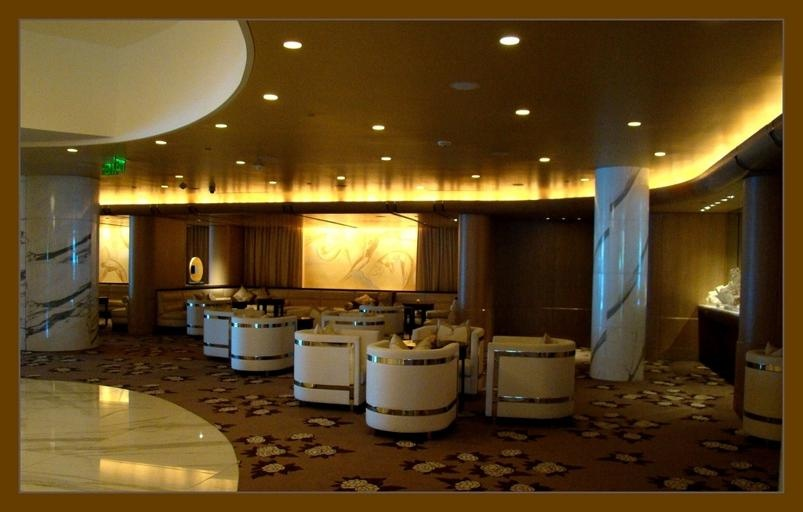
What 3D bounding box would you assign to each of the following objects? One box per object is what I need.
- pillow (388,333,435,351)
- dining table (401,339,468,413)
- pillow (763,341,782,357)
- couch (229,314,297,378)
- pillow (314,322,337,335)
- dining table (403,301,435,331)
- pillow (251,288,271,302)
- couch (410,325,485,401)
[{"bbox_3d":[0.115,1.249,8.339,0.455,0.151,0.408,1,-1,-10],"label":"pillow"},{"bbox_3d":[0.564,1.603,8.259,0.999,0.899,0.911,1,2,13],"label":"dining table"},{"bbox_3d":[5.104,1.291,8.249,0.248,0.092,0.248,25,11,34],"label":"pillow"},{"bbox_3d":[-2.635,1.620,11.508,1.335,1.053,1.198,1,2,10],"label":"couch"},{"bbox_3d":[-1.192,1.170,9.362,0.342,0.107,0.313,-3,-10,2],"label":"pillow"},{"bbox_3d":[0.488,1.772,17.108,0.904,0.739,0.836,2,-4,2],"label":"dining table"},{"bbox_3d":[-4.485,1.242,19.165,0.510,0.150,0.457,4,33,-10],"label":"pillow"},{"bbox_3d":[0.973,1.750,9.890,1.371,1.205,1.226,-3,-8,22],"label":"couch"}]
